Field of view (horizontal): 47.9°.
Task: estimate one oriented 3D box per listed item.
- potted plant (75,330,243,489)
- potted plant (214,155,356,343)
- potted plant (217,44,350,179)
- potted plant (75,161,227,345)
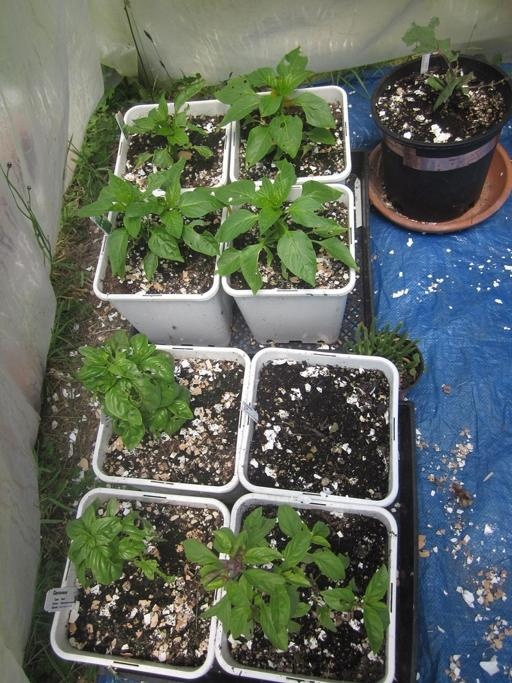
[{"bbox_3d":[-0.304,0.246,2.063,0.535,0.634,0.545,3,53,6],"label":"potted plant"},{"bbox_3d":[0.118,-0.303,2.249,0.599,0.869,0.606,0,68,4],"label":"potted plant"},{"bbox_3d":[0.127,-0.882,2.326,0.591,0.236,0.683,-1,78,14],"label":"potted plant"},{"bbox_3d":[-0.344,-0.289,2.426,0.522,0.626,0.535,27,61,27],"label":"potted plant"}]
